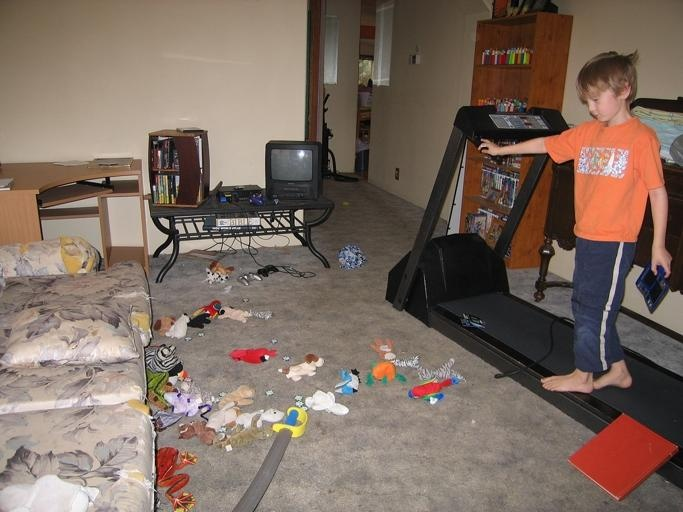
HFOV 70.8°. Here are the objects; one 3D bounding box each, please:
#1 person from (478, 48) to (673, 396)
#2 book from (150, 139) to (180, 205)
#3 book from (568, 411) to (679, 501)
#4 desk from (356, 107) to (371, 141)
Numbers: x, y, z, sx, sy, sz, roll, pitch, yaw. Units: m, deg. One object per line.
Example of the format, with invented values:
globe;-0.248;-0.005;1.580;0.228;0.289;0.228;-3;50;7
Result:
person;1.380;-0.146;2.578;0.498;1.768;0.661;1;21;4
book;-1.467;-0.705;3.988;0.241;0.543;0.148;-4;22;-10
book;1.348;0.968;2.324;0.382;0.205;0.284;-10;23;-25
desk;0.470;-3.135;11.266;0.414;0.627;0.397;-7;22;-10
